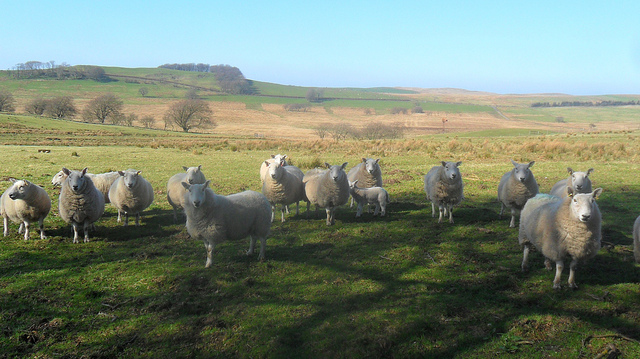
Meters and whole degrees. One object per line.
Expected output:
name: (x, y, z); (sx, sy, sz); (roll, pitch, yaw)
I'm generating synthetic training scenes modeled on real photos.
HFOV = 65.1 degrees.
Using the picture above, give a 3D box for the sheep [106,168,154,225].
sheep: (-9.336, 0.831, 24.464); (1.768, 2.567, 1.186); (1, 8, 29)

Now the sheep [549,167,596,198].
sheep: (11.703, 0.142, 22.709); (1.400, 1.469, 2.995); (0, -3, 10)

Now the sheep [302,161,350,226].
sheep: (0.312, 0.694, 25.049); (1.723, 2.846, 1.322); (4, 10, 44)

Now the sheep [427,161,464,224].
sheep: (6.159, 0.561, 24.790); (1.627, 2.889, 2.090); (-2, 7, 10)

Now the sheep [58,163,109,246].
sheep: (-10.779, 1.161, 22.626); (1.778, 3.260, 1.152); (-7, 8, -26)

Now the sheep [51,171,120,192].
sheep: (-11.334, 0.093, 24.235); (3.564, 1.475, 1.260); (0, -1, -2)

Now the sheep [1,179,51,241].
sheep: (-13.384, 1.325, 22.507); (1.998, 2.709, 0.976); (-4, 7, -7)
